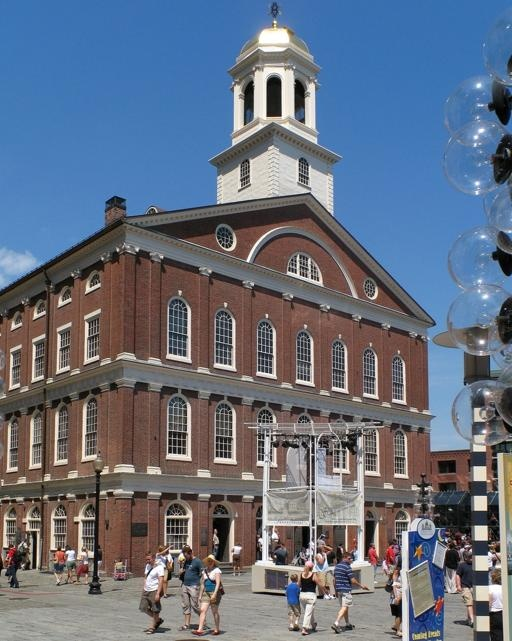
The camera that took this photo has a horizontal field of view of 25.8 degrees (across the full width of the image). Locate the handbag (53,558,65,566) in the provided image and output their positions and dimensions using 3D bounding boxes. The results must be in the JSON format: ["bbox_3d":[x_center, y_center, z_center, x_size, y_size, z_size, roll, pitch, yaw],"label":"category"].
[{"bbox_3d":[-6.913,8.672,39.938,0.382,0.307,0.518,-2,-6,-14],"label":"handbag"}]

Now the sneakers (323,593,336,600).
[{"bbox_3d":[2.236,8.466,34.277,0.128,0.173,0.403,8,-23,-27],"label":"sneakers"}]

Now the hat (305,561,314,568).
[{"bbox_3d":[1.203,5.483,25.206,0.158,0.207,0.206,0,-23,-2],"label":"hat"}]
